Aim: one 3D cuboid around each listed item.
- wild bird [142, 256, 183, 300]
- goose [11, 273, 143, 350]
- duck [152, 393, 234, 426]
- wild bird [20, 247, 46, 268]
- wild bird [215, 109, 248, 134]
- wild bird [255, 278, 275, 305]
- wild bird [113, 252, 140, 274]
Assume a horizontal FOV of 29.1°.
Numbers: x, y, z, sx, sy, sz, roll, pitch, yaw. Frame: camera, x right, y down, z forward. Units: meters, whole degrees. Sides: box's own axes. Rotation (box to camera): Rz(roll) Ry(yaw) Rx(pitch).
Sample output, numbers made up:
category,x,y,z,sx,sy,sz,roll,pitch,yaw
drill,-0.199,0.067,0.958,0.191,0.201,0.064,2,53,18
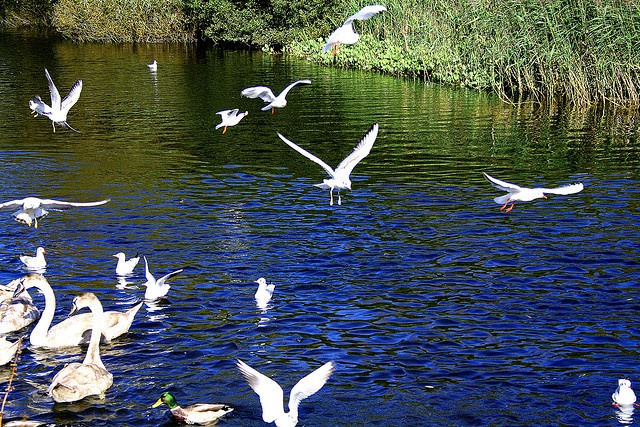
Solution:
category,x,y,z,sx,sy,sz,roll,pitch,yaw
wild bird,-4.083,1.763,31.704,0.761,0.906,1.349,-1,9,-15
goose,-6.975,2.742,31.318,4.533,1.870,1.309,-4,-8,-14
duck,-2.869,4.525,28.474,2.092,0.858,0.639,0,-22,-1
wild bird,-7.635,1.199,33.027,0.878,0.496,0.439,7,11,2
wild bird,-2.826,-3.034,39.416,1.179,0.401,1.204,10,-4,-5
wild bird,-1.399,2.023,31.711,0.490,0.681,0.483,0,11,-10
wild bird,-5.139,1.318,32.968,0.605,0.551,0.591,1,10,-7
